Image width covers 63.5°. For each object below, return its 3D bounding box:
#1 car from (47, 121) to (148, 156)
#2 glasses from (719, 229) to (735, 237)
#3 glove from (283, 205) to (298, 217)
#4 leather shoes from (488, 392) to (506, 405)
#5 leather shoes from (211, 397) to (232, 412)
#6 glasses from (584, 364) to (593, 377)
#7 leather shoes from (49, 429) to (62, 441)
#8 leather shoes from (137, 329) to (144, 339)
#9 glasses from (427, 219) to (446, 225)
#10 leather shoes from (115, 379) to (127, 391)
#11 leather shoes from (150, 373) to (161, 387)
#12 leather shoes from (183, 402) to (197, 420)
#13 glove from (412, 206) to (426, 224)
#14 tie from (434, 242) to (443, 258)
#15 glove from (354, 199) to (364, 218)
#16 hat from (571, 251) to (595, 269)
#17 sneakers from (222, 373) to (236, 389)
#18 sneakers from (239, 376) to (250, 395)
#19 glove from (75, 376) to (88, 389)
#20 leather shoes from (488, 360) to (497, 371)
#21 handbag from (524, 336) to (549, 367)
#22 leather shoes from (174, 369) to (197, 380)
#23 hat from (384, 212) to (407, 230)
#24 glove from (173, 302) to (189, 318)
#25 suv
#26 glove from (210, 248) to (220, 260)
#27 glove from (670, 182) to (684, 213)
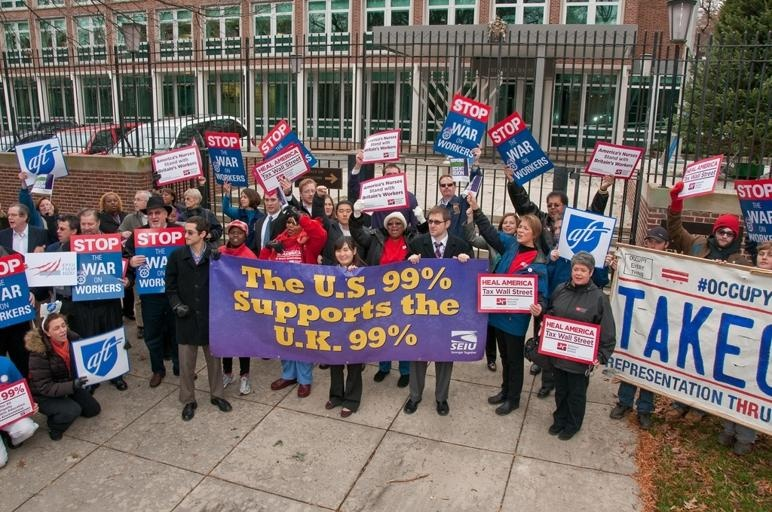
[{"bbox_3d":[-7.612,-3.450,17.067,1.240,1.086,2.207,6,13,27],"label":"car"},{"bbox_3d":[5.313,-0.354,9.676,0.249,0.139,0.046,-3,18,2],"label":"glasses"},{"bbox_3d":[-1.516,-0.681,9.814,0.166,0.200,0.346,-12,20,-24],"label":"glove"},{"bbox_3d":[1.749,2.255,9.924,0.347,0.139,0.131,-5,22,-8],"label":"leather shoes"},{"bbox_3d":[-2.602,2.311,9.772,0.331,0.148,0.154,21,22,23],"label":"leather shoes"},{"bbox_3d":[2.953,1.647,9.024,0.087,0.180,0.185,13,24,41],"label":"glasses"},{"bbox_3d":[-4.920,2.635,9.223,0.179,0.156,0.121,-8,18,-13],"label":"leather shoes"},{"bbox_3d":[-4.618,1.451,11.656,0.117,0.155,0.352,0,3,-19],"label":"leather shoes"},{"bbox_3d":[0.766,-0.518,9.445,0.255,0.097,0.122,-1,18,7],"label":"glasses"},{"bbox_3d":[-4.360,2.110,10.224,0.127,0.104,0.243,-14,46,-37],"label":"leather shoes"},{"bbox_3d":[-3.845,2.058,10.333,0.113,0.125,0.276,2,6,-5],"label":"leather shoes"},{"bbox_3d":[-3.046,2.386,9.611,0.258,0.204,0.225,-13,20,-28],"label":"leather shoes"},{"bbox_3d":[0.533,-0.672,9.870,0.104,0.236,0.311,-7,29,-11],"label":"glove"},{"bbox_3d":[0.809,-0.090,9.689,0.119,0.217,0.054,2,-2,16],"label":"tie"},{"bbox_3d":[-0.449,-0.738,9.685,0.090,0.260,0.190,13,-16,6],"label":"glove"},{"bbox_3d":[2.847,0.052,9.016,0.222,0.286,0.270,3,58,39],"label":"hat"},{"bbox_3d":[-2.643,2.042,10.287,0.134,0.192,0.347,2,19,16],"label":"sneakers"},{"bbox_3d":[-2.300,2.120,10.105,0.130,0.143,0.338,-3,7,-8],"label":"sneakers"},{"bbox_3d":[-4.619,1.904,9.417,0.160,0.161,0.038,3,41,-48],"label":"glove"},{"bbox_3d":[1.817,1.903,10.743,0.171,0.121,0.161,1,18,12],"label":"leather shoes"},{"bbox_3d":[2.235,1.434,9.298,0.255,0.463,0.367,-15,21,-32],"label":"handbag"},{"bbox_3d":[-3.428,1.981,10.335,0.280,0.166,0.452,-2,-10,-9],"label":"leather shoes"},{"bbox_3d":[0.150,-0.528,9.657,0.362,0.340,0.285,-7,18,-13],"label":"hat"},{"bbox_3d":[-3.148,0.827,9.520,0.194,0.154,0.205,-42,74,-16],"label":"glove"},{"bbox_3d":[-5.734,-3.335,17.206,2.550,1.033,1.116,14,39,16],"label":"suv"},{"bbox_3d":[-2.653,-0.017,9.669,0.113,0.159,0.053,2,2,8],"label":"glove"},{"bbox_3d":[4.802,-0.968,10.300,0.165,0.510,0.327,6,20,26],"label":"glove"}]
